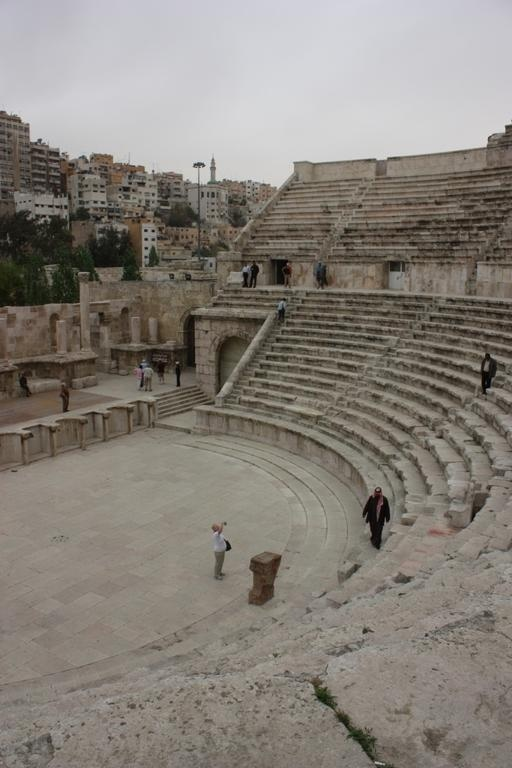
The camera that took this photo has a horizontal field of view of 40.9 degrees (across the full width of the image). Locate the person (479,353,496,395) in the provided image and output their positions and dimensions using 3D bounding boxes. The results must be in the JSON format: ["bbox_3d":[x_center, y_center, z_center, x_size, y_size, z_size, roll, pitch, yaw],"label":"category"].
[{"bbox_3d":[4.109,-0.205,12.260,0.308,0.772,0.455,-10,-1,19],"label":"person"}]

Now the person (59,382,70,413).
[{"bbox_3d":[-5.278,0.372,18.922,0.230,0.789,0.975,-9,-2,-16],"label":"person"}]

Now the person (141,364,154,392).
[{"bbox_3d":[-3.517,-0.160,22.103,0.338,0.836,0.755,-10,-1,-15],"label":"person"}]

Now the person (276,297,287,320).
[{"bbox_3d":[0.735,-2.229,20.395,0.336,0.706,0.881,-10,-1,2],"label":"person"}]

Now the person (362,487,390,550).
[{"bbox_3d":[1.668,1.816,9.584,0.345,0.899,0.241,8,22,24],"label":"person"}]

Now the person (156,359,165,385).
[{"bbox_3d":[-3.316,-0.420,23.861,0.208,0.785,0.986,-9,-1,-7],"label":"person"}]

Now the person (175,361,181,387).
[{"bbox_3d":[-2.584,-0.342,22.515,0.189,0.788,0.847,-9,-1,-7],"label":"person"}]
